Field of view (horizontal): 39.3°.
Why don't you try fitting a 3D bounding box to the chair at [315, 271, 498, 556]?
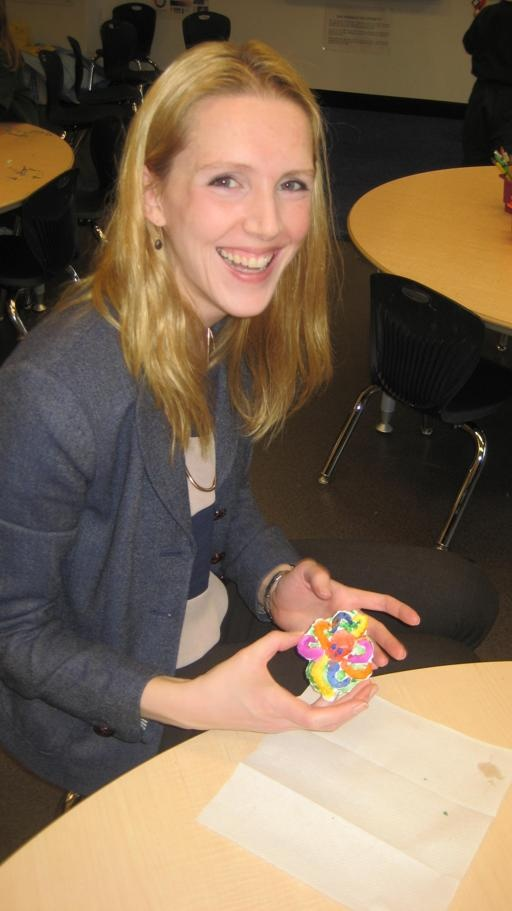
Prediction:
[{"bbox_3d":[0.624,-0.240,2.518,0.651,0.868,0.690,19,39,20],"label":"chair"}]
